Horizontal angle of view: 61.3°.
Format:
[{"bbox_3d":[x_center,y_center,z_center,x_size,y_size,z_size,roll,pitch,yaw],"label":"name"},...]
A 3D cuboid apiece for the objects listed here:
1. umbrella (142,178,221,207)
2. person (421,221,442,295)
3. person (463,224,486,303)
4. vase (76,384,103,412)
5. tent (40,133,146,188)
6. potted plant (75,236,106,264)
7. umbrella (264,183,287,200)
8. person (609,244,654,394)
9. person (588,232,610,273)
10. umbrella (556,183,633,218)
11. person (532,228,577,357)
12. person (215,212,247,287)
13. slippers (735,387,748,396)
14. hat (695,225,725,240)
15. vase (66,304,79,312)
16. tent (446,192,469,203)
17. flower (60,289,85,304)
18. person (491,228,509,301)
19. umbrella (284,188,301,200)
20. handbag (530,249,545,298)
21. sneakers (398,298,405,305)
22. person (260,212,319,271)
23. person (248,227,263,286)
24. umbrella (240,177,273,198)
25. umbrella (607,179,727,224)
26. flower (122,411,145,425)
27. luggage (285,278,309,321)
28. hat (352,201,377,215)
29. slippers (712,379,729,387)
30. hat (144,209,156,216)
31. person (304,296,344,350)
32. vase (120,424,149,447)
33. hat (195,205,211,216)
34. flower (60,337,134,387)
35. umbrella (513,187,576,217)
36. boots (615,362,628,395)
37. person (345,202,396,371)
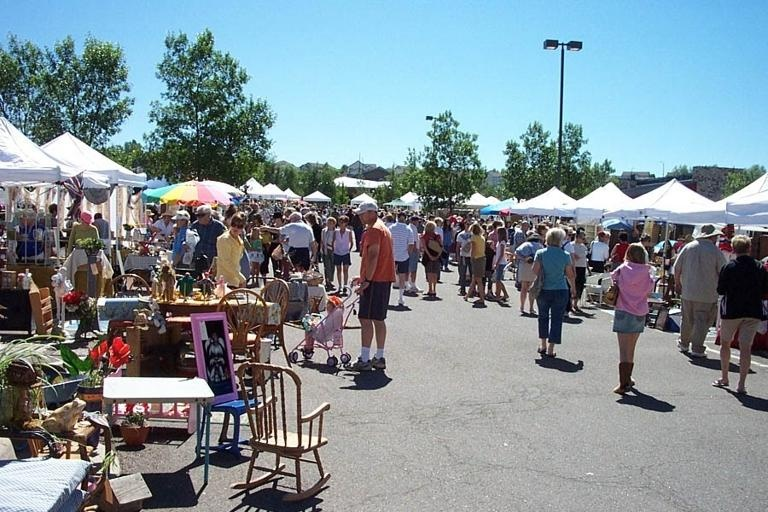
[{"bbox_3d":[-5.873,-1.934,19.748,2.940,0.861,1.990,2,2,42],"label":"umbrella"},{"bbox_3d":[1.376,0.090,18.568,0.590,2.155,0.983,0,2,3],"label":"person"},{"bbox_3d":[2.535,0.208,17.897,0.558,2.172,1.545,0,2,7],"label":"person"},{"bbox_3d":[-3.149,1.509,6.931,0.264,0.230,0.266,0,-3,7],"label":"vase"},{"bbox_3d":[-7.805,-2.504,17.181,1.905,0.942,2.042,1,-3,19],"label":"tent"},{"bbox_3d":[-5.767,-0.129,12.723,0.479,0.549,0.506,-1,5,-18],"label":"potted plant"},{"bbox_3d":[-7.133,-4.040,41.528,1.360,0.861,1.464,3,-1,4],"label":"umbrella"},{"bbox_3d":[3.916,0.949,10.210,0.598,2.293,1.040,1,2,22],"label":"person"},{"bbox_3d":[6.339,-0.098,19.057,0.528,1.256,1.813,1,2,18],"label":"person"},{"bbox_3d":[7.829,-1.920,23.858,1.622,0.854,1.722,0,9,12],"label":"umbrella"},{"bbox_3d":[3.126,0.659,11.977,0.718,2.346,0.760,1,2,18],"label":"person"},{"bbox_3d":[-2.447,-0.079,10.325,0.451,1.179,0.688,0,2,-13],"label":"person"},{"bbox_3d":[5.604,2.107,10.130,0.136,0.109,0.249,1,2,29],"label":"slippers"},{"bbox_3d":[7.402,-0.529,14.647,0.846,0.307,0.899,1,7,20],"label":"hat"},{"bbox_3d":[-5.249,0.893,10.930,0.166,0.095,0.225,2,3,-6],"label":"vase"},{"bbox_3d":[4.936,-3.837,43.004,0.762,0.763,0.813,4,3,43],"label":"tent"},{"bbox_3d":[-5.220,0.711,10.833,0.347,0.217,0.308,1,2,18],"label":"flower"},{"bbox_3d":[3.326,0.224,18.338,0.422,2.098,1.471,1,2,12],"label":"person"},{"bbox_3d":[-6.121,-4.056,43.273,1.539,0.810,1.648,1,1,1],"label":"umbrella"},{"bbox_3d":[2.813,0.371,11.815,0.225,0.723,0.495,5,0,10],"label":"handbag"},{"bbox_3d":[0.455,1.206,16.710,0.131,0.142,0.243,0,-5,2],"label":"sneakers"},{"bbox_3d":[-2.298,-0.396,16.798,0.951,1.504,1.240,1,2,28],"label":"person"},{"bbox_3d":[-3.520,0.021,17.753,0.377,1.554,1.035,0,2,-11],"label":"person"},{"bbox_3d":[-8.502,-4.417,41.888,1.559,0.929,1.656,1,1,-10],"label":"umbrella"},{"bbox_3d":[8.623,-1.502,19.771,2.070,0.770,2.071,-1,7,-38],"label":"umbrella"},{"bbox_3d":[-2.982,1.939,7.722,0.163,0.127,0.161,2,2,-32],"label":"flower"},{"bbox_3d":[-1.810,0.903,13.317,0.744,0.800,0.687,2,7,1],"label":"luggage"},{"bbox_3d":[-0.286,-0.799,10.746,0.324,0.187,0.230,2,-1,-9],"label":"hat"},{"bbox_3d":[5.421,2.067,10.432,0.107,0.076,0.209,0,3,-26],"label":"slippers"},{"bbox_3d":[-8.893,-1.638,24.601,0.576,0.170,0.613,1,-1,-9],"label":"hat"},{"bbox_3d":[-1.052,1.166,11.365,0.664,1.096,0.586,6,3,4],"label":"person"},{"bbox_3d":[-2.957,2.125,7.652,0.248,0.196,0.260,3,0,-18],"label":"vase"},{"bbox_3d":[-3.225,-0.818,11.580,0.257,0.173,0.398,0,2,-18],"label":"hat"},{"bbox_3d":[-3.123,1.158,7.235,0.537,0.470,0.639,-1,-6,23],"label":"flower"},{"bbox_3d":[6.397,-1.912,24.815,1.574,0.657,1.604,-1,7,-31],"label":"umbrella"},{"bbox_3d":[3.668,1.863,9.990,0.189,0.478,0.373,1,2,23],"label":"boots"},{"bbox_3d":[-0.182,0.506,10.731,0.715,2.749,0.294,0,2,-10],"label":"person"}]
